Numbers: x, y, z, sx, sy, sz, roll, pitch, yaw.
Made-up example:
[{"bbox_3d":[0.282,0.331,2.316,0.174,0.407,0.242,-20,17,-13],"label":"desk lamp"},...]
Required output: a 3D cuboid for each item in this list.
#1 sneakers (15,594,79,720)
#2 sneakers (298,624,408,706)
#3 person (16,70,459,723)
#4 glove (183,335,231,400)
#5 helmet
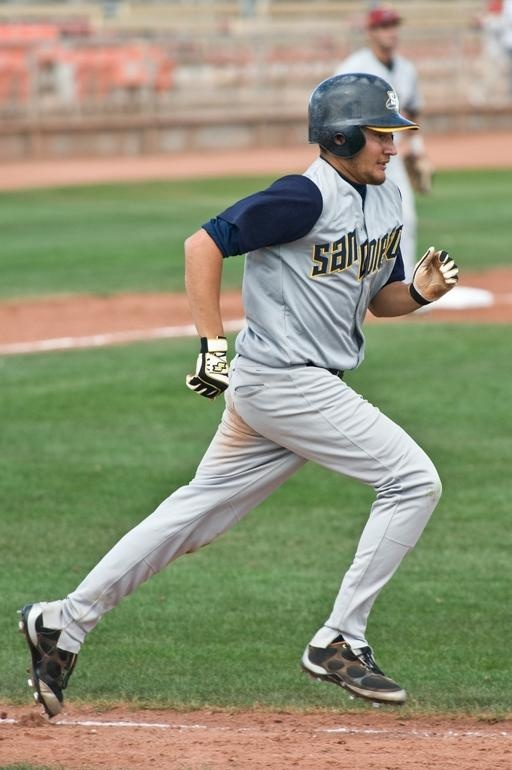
[{"bbox_3d":[-0.533,0.697,2.753,0.182,0.270,0.115,-10,-2,3],"label":"sneakers"},{"bbox_3d":[0.248,0.744,2.866,0.333,0.154,0.112,19,-8,19],"label":"sneakers"},{"bbox_3d":[0.076,0.027,2.716,1.226,1.650,0.591,-7,15,-29],"label":"person"},{"bbox_3d":[-0.124,-0.044,2.682,0.107,0.164,0.122,-1,13,-4],"label":"glove"},{"bbox_3d":[0.244,-0.705,2.825,0.325,0.191,0.233,3,8,17],"label":"helmet"}]
